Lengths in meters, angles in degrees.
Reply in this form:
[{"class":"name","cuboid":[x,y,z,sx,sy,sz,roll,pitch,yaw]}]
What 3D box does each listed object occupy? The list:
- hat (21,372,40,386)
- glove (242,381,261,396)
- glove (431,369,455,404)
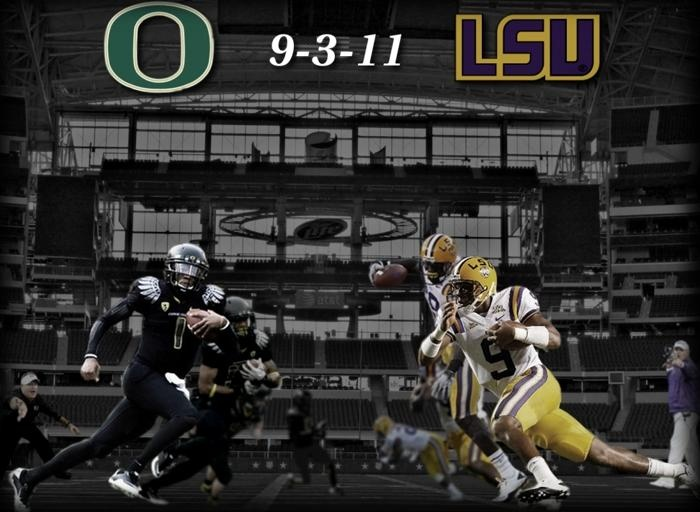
[{"class":"hat","cuboid":[-8.273,3.133,31.741,0.364,0.252,0.495,5,-11,-27]},{"class":"glove","cuboid":[-2.271,3.100,29.241,0.244,0.346,0.586,3,-3,-38]},{"class":"glove","cuboid":[2.024,2.889,27.788,0.550,0.766,0.259,2,12,-32]}]
